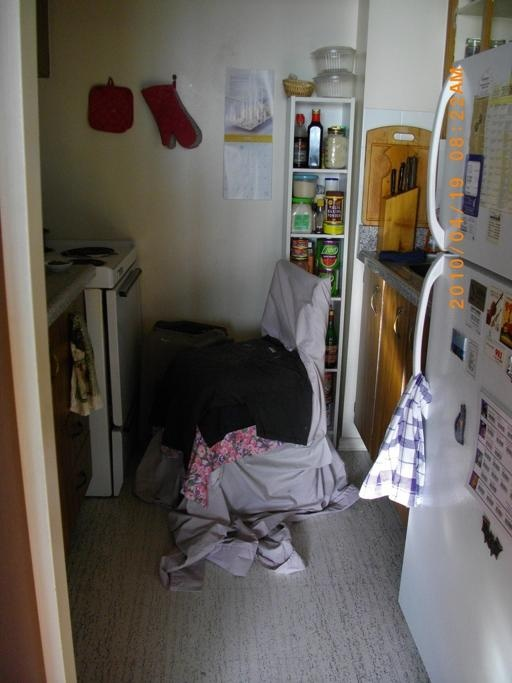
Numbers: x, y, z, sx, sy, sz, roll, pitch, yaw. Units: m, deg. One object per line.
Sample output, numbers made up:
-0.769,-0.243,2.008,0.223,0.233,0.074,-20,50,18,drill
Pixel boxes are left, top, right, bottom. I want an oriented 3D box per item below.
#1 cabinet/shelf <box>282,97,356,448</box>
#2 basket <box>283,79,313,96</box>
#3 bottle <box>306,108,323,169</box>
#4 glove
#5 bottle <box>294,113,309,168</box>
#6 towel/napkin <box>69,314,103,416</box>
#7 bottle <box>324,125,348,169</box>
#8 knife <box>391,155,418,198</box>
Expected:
0.328,-0.355,2.644,0.348,1.824,0.307,2,12,4,cabinet/shelf
0.222,-1.276,2.387,0.104,0.060,0.103,2,38,-6,basket
0.329,-1.062,2.512,0.066,0.281,0.144,8,15,30,bottle
-0.440,-1.190,2.564,0.210,0.365,0.083,0,19,0,glove
0.247,-1.039,2.493,0.066,0.259,0.200,5,14,18,bottle
-0.625,0.074,1.745,0.074,0.364,0.074,-9,1,-13,towel/napkin
0.417,-0.999,2.458,0.131,0.207,0.093,4,13,12,bottle
0.740,-0.812,2.338,0.148,0.190,0.047,9,7,43,knife
